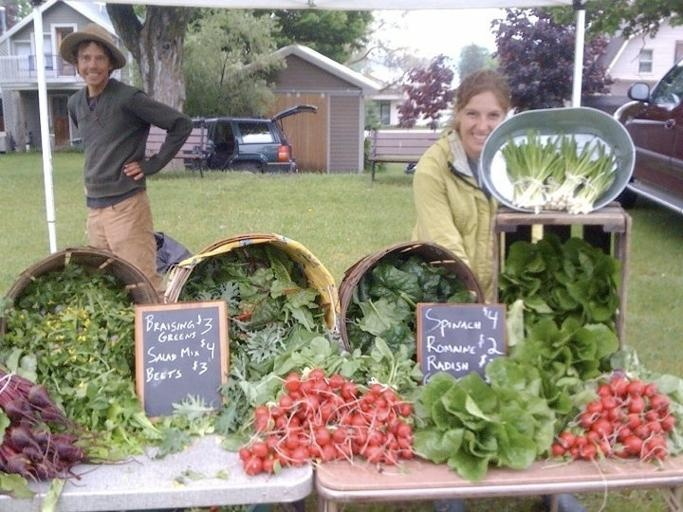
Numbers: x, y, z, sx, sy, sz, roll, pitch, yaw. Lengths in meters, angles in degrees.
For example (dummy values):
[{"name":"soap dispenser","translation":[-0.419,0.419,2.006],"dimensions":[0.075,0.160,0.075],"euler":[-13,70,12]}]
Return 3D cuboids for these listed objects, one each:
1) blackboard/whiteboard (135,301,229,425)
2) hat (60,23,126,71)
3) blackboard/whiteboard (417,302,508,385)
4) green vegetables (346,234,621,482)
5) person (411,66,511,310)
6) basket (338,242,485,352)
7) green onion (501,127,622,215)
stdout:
[{"name":"blackboard/whiteboard","translation":[-0.606,0.418,2.292],"dimensions":[0.401,0.493,0.051],"euler":[-2,-11,-8]},{"name":"hat","translation":[-1.511,-1.231,3.587],"dimensions":[0.416,0.255,0.301],"euler":[3,16,19]},{"name":"blackboard/whiteboard","translation":[0.470,0.322,2.356],"dimensions":[0.296,0.316,0.071],"euler":[-1,-6,2]},{"name":"green vegetables","translation":[0.561,0.390,2.310],"dimensions":[0.895,0.862,0.312],"euler":[0,-18,5]},{"name":"person","translation":[0.586,-0.316,3.011],"dimensions":[0.408,1.200,0.461],"euler":[-1,5,-20]},{"name":"basket","translation":[0.237,0.077,2.492],"dimensions":[0.508,0.461,0.304],"euler":[1,12,-10]},{"name":"green onion","translation":[0.884,-0.357,2.538],"dimensions":[0.498,0.308,0.306],"euler":[2,15,15]}]
